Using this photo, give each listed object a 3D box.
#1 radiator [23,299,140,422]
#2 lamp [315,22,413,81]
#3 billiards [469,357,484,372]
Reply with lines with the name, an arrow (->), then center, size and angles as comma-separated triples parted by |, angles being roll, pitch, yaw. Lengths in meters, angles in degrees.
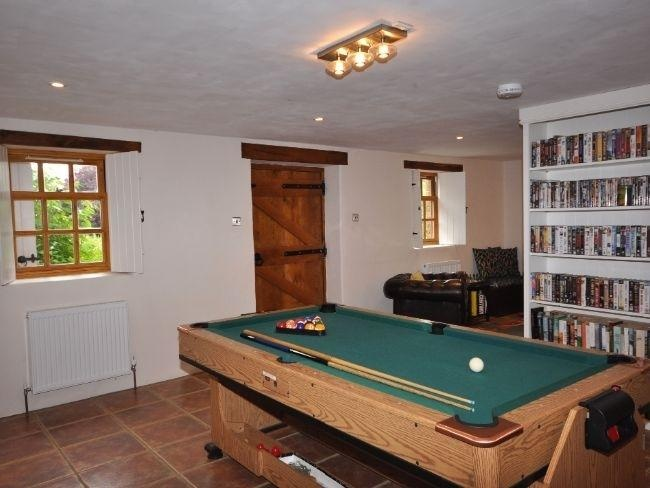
radiator -> -2.462, 1.019, 4.755 | 0.972, 0.792, 0.148 | -6, 9, -29
lamp -> 0.248, -1.258, 3.152 | 0.683, 0.242, 0.282 | 5, 10, 40
billiards -> 0.852, 0.676, 2.706 | 0.085, 0.085, 0.079 | 1, 7, 1
